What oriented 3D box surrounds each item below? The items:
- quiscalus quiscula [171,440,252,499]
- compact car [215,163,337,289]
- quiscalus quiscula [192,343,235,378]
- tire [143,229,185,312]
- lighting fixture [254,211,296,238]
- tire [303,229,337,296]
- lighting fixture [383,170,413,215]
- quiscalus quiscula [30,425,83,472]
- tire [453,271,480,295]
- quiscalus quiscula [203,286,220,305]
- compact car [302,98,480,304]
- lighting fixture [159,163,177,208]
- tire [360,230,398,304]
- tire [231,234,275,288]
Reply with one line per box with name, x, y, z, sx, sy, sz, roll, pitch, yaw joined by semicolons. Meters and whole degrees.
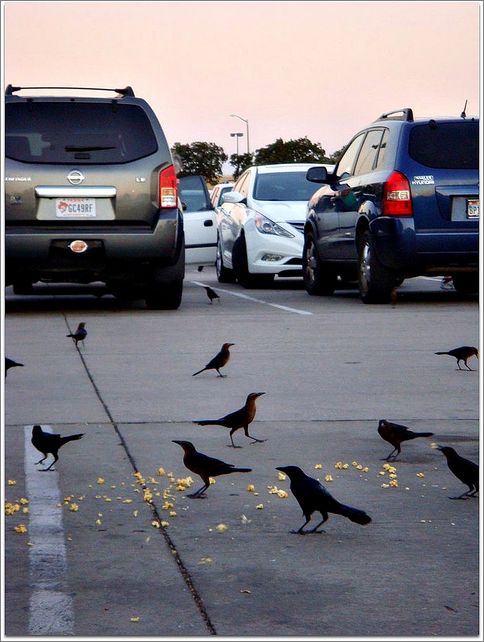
quiscalus quiscula;-0.131;0.559;3.471;0.356;0.183;0.103;11;-18;-34
compact car;0.435;-1.448;14.625;1.375;0.989;2.526;-1;0;-12
quiscalus quiscula;-0.225;0.264;6.346;0.244;0.247;0.467;-3;6;-4
tire;-0.873;-0.570;10.381;0.289;0.742;0.807;8;-21;-10
lighting fixture;0.406;-1.338;13.630;0.596;0.227;0.271;27;-14;3
tire;1.052;-0.791;12.670;0.348;0.884;0.984;0;4;-20
lighting fixture;1.758;-1.394;10.275;0.369;0.455;0.318;-4;17;13
quiscalus quiscula;-0.783;0.523;3.929;0.282;0.172;0.092;2;-6;-42
tire;3.031;-0.491;12.690;0.345;0.387;0.438;0;10;2
quiscalus quiscula;-0.373;-0.298;11.914;0.138;0.204;0.300;-21;-30;38
compact car;1.738;-1.373;11.606;1.626;2.294;3.804;-4;7;-13
lighting fixture;-0.780;-1.444;10.043;0.237;0.468;0.064;2;10;26
tire;1.554;-0.638;10.752;0.334;0.831;0.922;0;3;-17
tire;0.045;-0.852;14.689;0.839;0.728;0.782;4;23;0
